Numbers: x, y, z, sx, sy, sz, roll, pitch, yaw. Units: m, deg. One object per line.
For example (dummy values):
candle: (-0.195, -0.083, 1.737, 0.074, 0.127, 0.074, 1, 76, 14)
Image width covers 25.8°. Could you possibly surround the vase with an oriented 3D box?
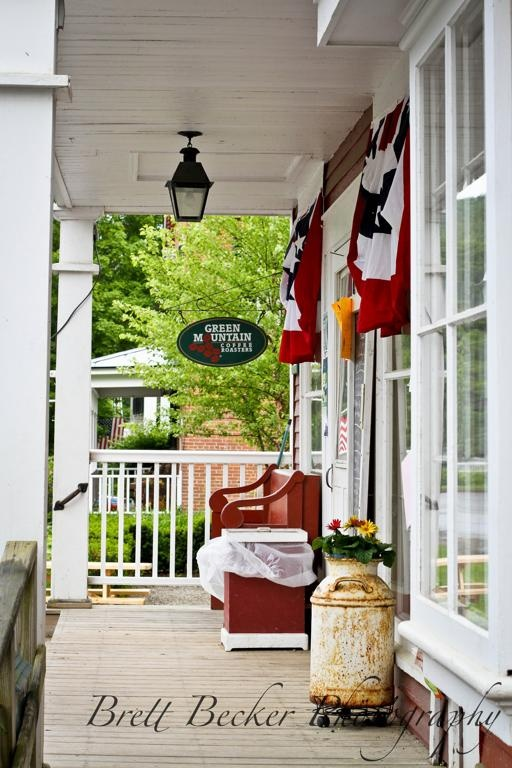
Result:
vase: (0.371, 0.946, 4.333, 0.287, 0.569, 0.309, 1, 1, 9)
